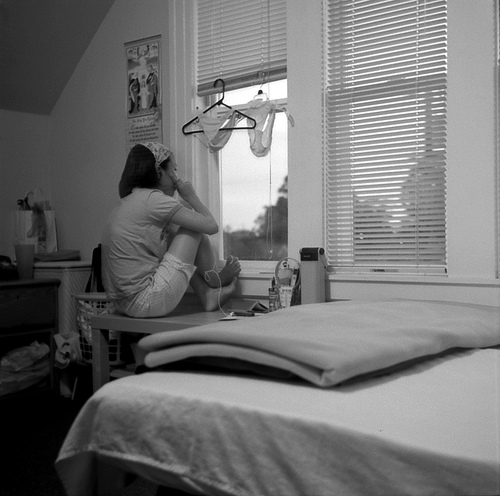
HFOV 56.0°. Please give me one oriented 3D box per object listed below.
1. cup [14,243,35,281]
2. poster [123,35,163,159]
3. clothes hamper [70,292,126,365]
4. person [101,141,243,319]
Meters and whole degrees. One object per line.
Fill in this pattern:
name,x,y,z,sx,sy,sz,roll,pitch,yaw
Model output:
cup,-1.447,0.080,3.036,0.111,0.227,0.076,-10,13,-29
poster,-0.722,-1.041,3.214,0.297,0.915,0.037,-5,-12,7
clothes hamper,-0.806,0.432,2.695,0.234,0.360,0.260,3,-2,-31
person,-0.409,-0.063,2.605,0.619,1.014,0.516,-2,-15,-11
